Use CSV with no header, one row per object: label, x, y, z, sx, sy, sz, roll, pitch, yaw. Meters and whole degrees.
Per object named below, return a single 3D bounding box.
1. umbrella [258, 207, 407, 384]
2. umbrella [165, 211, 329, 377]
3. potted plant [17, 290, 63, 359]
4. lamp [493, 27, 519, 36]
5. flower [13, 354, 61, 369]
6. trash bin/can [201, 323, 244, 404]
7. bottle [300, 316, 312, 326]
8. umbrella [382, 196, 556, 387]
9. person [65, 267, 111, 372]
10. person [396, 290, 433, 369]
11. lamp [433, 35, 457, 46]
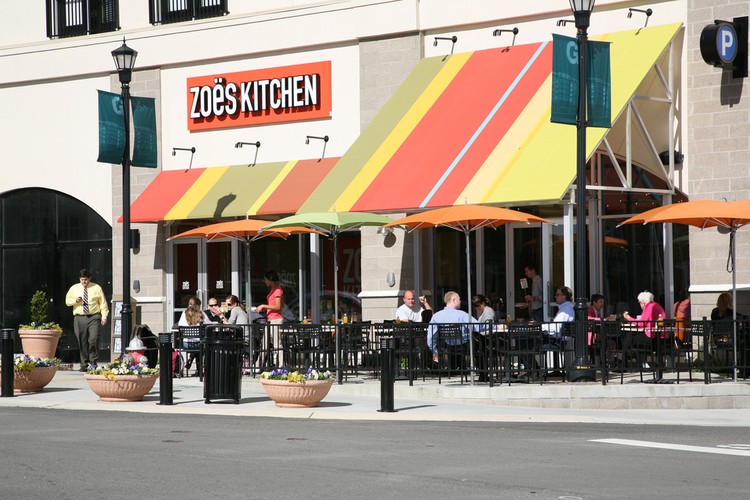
umbrella,-0.843,0.551,36.466,2.749,2.890,2.835,-6,-7,24
umbrella,-2.857,1.117,38.850,3.606,2.866,3.673,-6,-6,45
potted plant,-7.991,1.839,39.120,1.000,1.623,1.028,-2,5,-13
lamp,3.155,-5.246,39.311,0.609,0.220,0.330,12,18,41
flower,-7.407,2.516,35.669,0.950,0.358,0.717,-4,14,-18
trash bin/can,-3.188,2.497,34.353,0.839,1.523,1.505,-1,13,-6
bottle,-1.653,1.751,39.144,0.175,0.183,0.183,-6,-6,30
umbrella,2.006,0.501,35.542,2.939,3.089,2.961,-7,9,-9
person,-7.042,1.766,40.124,0.914,2.402,1.194,-4,14,-17
person,0.972,1.745,37.435,0.869,1.438,0.813,-8,-1,4
lamp,1.756,-5.138,39.958,0.655,0.326,0.220,4,1,-35
